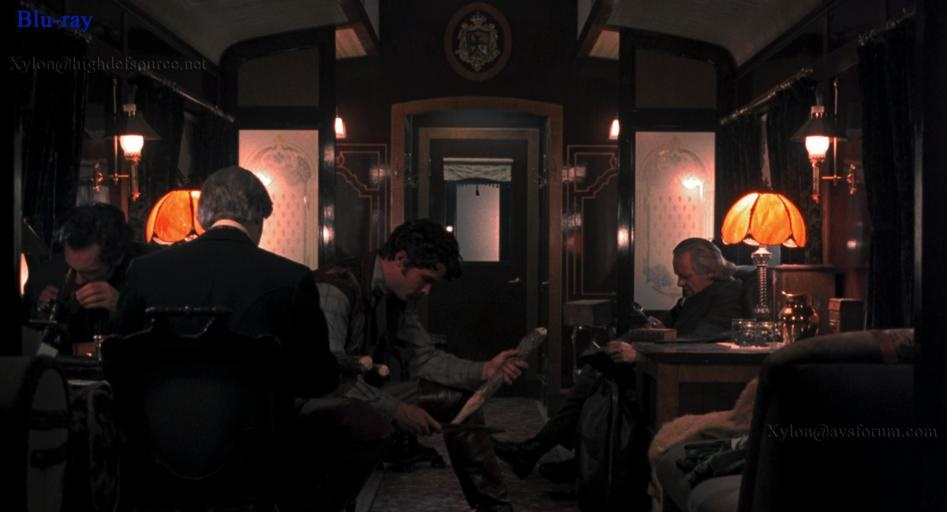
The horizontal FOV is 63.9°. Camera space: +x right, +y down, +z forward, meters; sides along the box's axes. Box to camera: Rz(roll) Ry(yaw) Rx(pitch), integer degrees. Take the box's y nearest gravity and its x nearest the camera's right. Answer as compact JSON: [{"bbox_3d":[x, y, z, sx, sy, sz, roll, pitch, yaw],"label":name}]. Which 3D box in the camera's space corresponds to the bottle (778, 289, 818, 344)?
[{"bbox_3d":[2.409,0.458,5.639,0.333,0.373,0.260,3,-12,-10],"label":"bottle"}]

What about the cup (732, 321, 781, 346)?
[{"bbox_3d":[2.029,0.554,5.509,0.244,0.122,0.214,0,-8,1],"label":"cup"}]

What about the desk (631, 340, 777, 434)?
[{"bbox_3d":[1.661,0.850,5.608,0.890,0.753,0.832,0,-4,5],"label":"desk"}]

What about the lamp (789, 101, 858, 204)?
[{"bbox_3d":[3.205,-0.996,6.906,0.509,0.922,0.805,1,-4,26],"label":"lamp"}]
